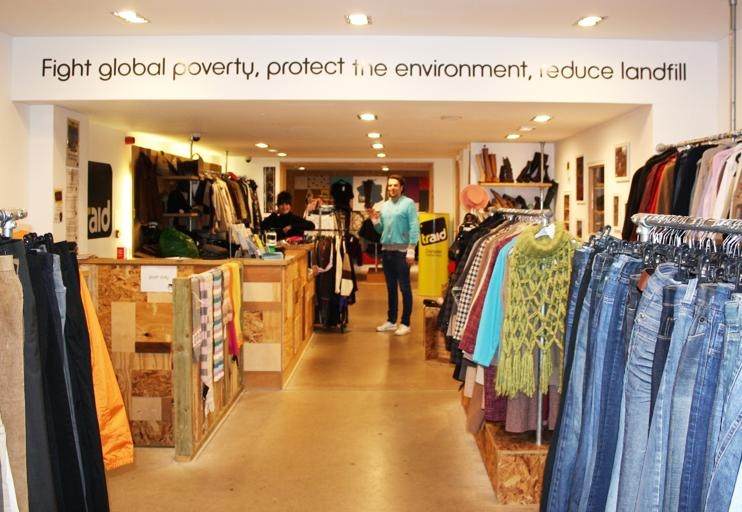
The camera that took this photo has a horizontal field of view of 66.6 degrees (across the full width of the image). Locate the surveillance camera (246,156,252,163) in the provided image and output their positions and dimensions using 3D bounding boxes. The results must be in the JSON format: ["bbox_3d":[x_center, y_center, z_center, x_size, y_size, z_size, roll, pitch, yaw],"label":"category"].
[{"bbox_3d":[-2.580,-2.057,11.924,0.081,0.104,0.109,0,12,2],"label":"surveillance camera"}]

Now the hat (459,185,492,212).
[{"bbox_3d":[0.943,-0.536,5.132,0.229,0.226,0.395,1,7,8],"label":"hat"}]

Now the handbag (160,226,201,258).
[{"bbox_3d":[-1.882,-0.103,5.518,0.227,0.370,0.273,-48,8,-17],"label":"handbag"}]

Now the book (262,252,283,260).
[{"bbox_3d":[-0.932,-0.009,5.355,0.190,0.052,0.238,-1,8,-11],"label":"book"}]

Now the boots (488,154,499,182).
[{"bbox_3d":[1.808,-1.314,8.321,0.156,0.431,0.310,2,7,12],"label":"boots"}]

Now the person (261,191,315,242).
[{"bbox_3d":[-1.159,-0.601,8.064,0.623,0.631,1.048,-3,8,-25],"label":"person"}]

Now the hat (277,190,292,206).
[{"bbox_3d":[-1.250,-0.862,8.238,0.197,0.255,0.252,0,-5,-6],"label":"hat"}]

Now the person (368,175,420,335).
[{"bbox_3d":[0.338,0.009,7.131,0.483,2.043,0.988,-2,7,-16],"label":"person"}]

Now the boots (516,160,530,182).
[{"bbox_3d":[2.243,-1.255,8.322,0.160,0.314,0.307,6,9,38],"label":"boots"}]

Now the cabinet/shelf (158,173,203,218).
[{"bbox_3d":[-2.968,-0.941,8.852,0.621,0.625,0.633,-2,4,-40],"label":"cabinet/shelf"}]

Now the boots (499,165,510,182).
[{"bbox_3d":[1.952,-1.219,8.263,0.145,0.235,0.123,3,8,21],"label":"boots"}]
